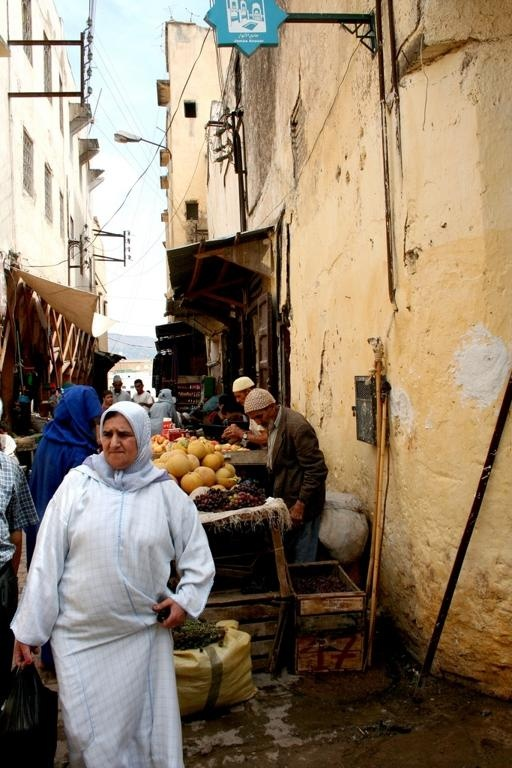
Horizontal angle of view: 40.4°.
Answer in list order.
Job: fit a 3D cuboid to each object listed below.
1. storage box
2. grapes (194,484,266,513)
[{"bbox_3d":[0.164,1.250,3.988,0.712,0.482,0.728,-2,8,-14],"label":"storage box"},{"bbox_3d":[-0.140,0.645,3.928,0.209,0.110,0.183,-1,-8,0],"label":"grapes"}]
